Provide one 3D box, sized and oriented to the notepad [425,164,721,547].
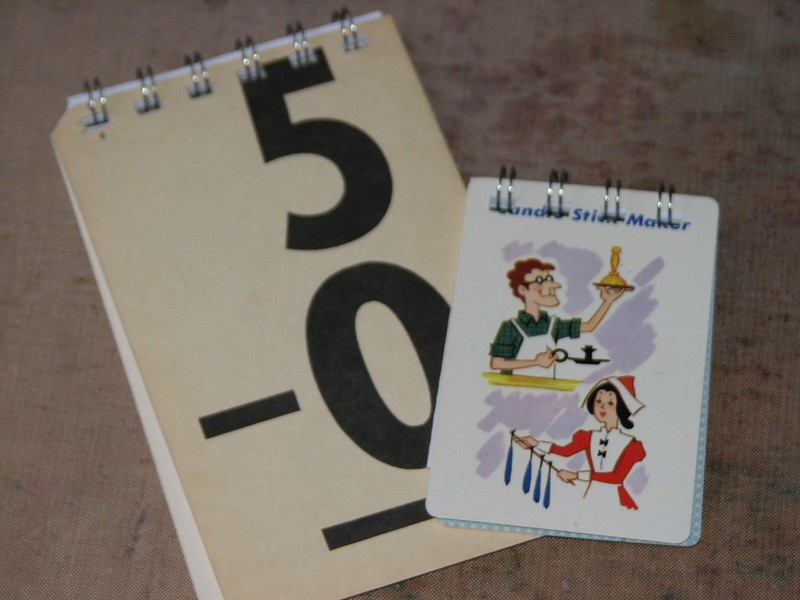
[{"bbox_3d":[0.204,0.089,1.172,0.288,0.395,0.409,1,75,1],"label":"notepad"}]
